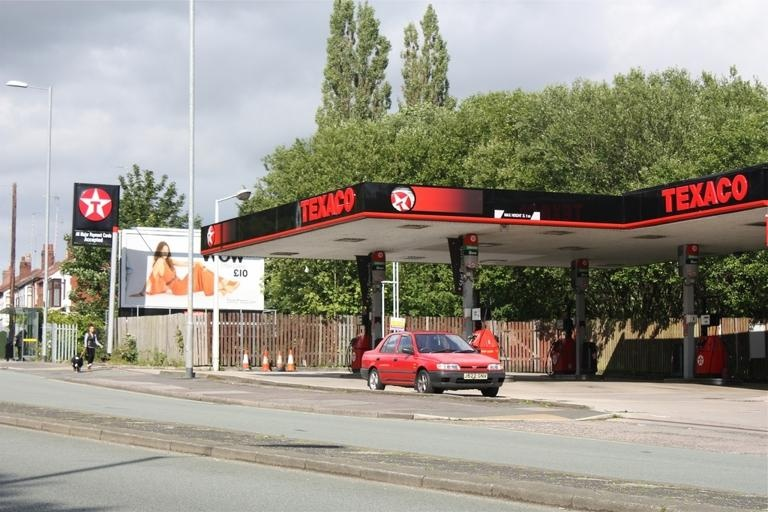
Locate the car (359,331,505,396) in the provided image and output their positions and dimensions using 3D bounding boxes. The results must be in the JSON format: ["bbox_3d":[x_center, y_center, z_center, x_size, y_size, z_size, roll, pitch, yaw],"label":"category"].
[{"bbox_3d":[1.457,3.336,33.481,1.906,2.048,4.583,4,-8,-38],"label":"car"}]

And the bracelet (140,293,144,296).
[{"bbox_3d":[-13.636,2.127,60.393,0.246,0.253,0.076,2,-5,-19],"label":"bracelet"}]
